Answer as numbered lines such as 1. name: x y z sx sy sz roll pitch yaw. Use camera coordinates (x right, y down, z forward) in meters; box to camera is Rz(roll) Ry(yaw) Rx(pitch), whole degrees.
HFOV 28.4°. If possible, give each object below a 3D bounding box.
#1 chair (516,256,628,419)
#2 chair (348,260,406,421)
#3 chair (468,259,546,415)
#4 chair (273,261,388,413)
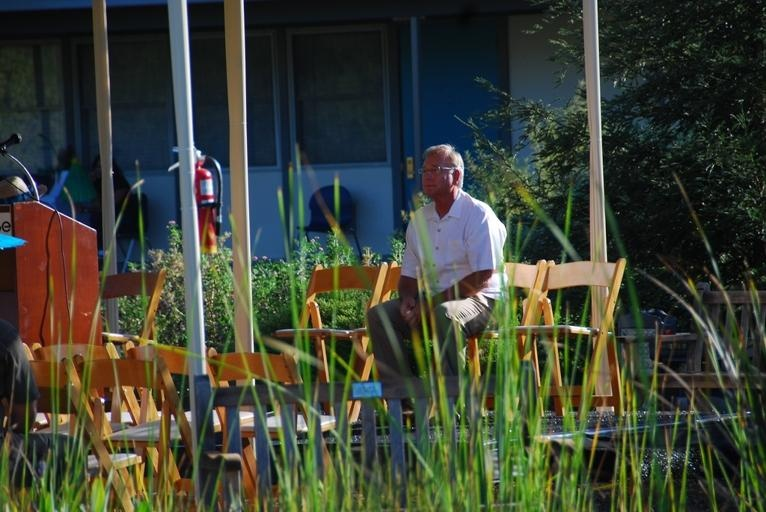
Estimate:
1. chair: 1.535 0.690 12.690 0.785 1.285 0.783 0 -6 -25
2. chair: -0.052 0.601 12.781 0.459 1.341 0.424 6 -15 -8
3. chair: 1.110 0.477 12.561 0.489 1.584 0.971 1 -1 0
4. chair: -0.349 0.529 13.005 0.781 1.350 0.953 -3 -6 27
